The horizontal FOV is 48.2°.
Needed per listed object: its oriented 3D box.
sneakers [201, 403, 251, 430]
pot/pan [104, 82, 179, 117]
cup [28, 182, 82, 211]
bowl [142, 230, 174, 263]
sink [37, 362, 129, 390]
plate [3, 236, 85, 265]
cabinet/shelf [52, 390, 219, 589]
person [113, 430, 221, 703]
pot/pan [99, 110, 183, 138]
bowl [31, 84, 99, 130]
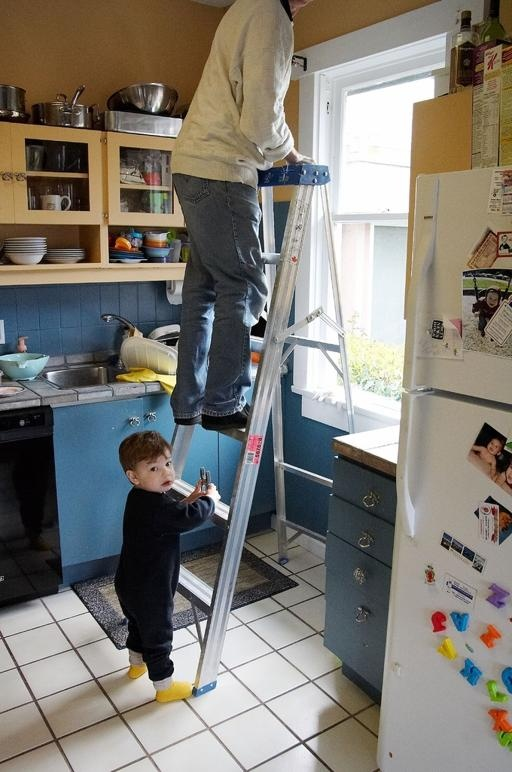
[{"bbox_3d":[-0.076,0.100,1.771,0.174,0.077,0.058,-12,19,-37],"label":"sneakers"},{"bbox_3d":[-0.507,-1.274,2.581,0.305,0.130,0.206,-2,8,-15],"label":"pot/pan"},{"bbox_3d":[-0.868,-0.795,2.470,0.193,0.134,0.118,-7,12,-41],"label":"cup"},{"bbox_3d":[-0.473,-0.684,2.800,0.151,0.132,0.135,0,12,-5],"label":"bowl"},{"bbox_3d":[-0.847,-0.041,2.813,0.222,0.088,0.173,-5,16,-31],"label":"sink"},{"bbox_3d":[-0.931,-0.580,2.519,0.359,0.122,0.224,-3,9,-21],"label":"plate"},{"bbox_3d":[-0.507,0.384,2.192,0.742,0.743,0.378,-8,13,-36],"label":"cabinet/shelf"},{"bbox_3d":[-0.295,0.577,1.877,0.346,0.871,0.281,3,8,22],"label":"person"},{"bbox_3d":[-0.508,-1.167,2.565,0.350,0.084,0.323,0,15,-25],"label":"pot/pan"},{"bbox_3d":[-0.837,-1.188,2.439,0.178,0.122,0.302,-12,33,-31],"label":"bowl"}]
